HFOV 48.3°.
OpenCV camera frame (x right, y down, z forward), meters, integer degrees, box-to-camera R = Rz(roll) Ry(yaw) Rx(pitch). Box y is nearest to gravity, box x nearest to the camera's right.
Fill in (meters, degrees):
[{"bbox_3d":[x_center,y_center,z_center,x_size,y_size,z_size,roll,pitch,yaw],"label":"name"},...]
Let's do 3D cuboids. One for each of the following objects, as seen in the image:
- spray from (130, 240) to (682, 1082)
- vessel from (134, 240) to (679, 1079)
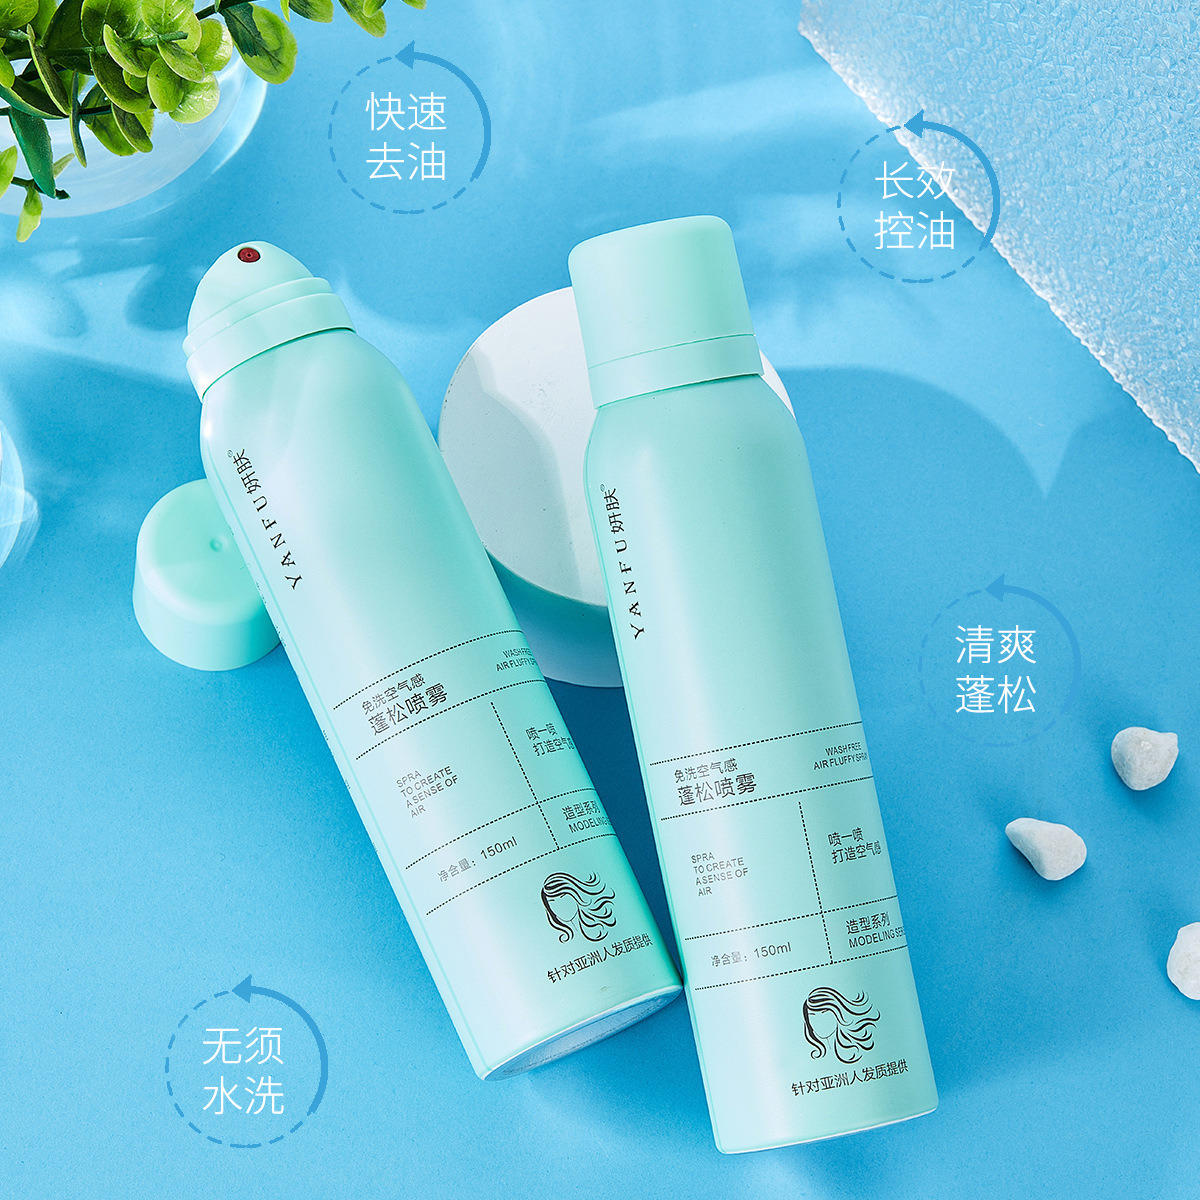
[{"bbox_3d":[-0.069,0.025,0.549,0.132,0.126,0.398,-23,87,-29],"label":"spray"},{"bbox_3d":[-0.068,0.029,0.549,0.132,0.125,0.398,-23,87,-26],"label":"vessel"}]
